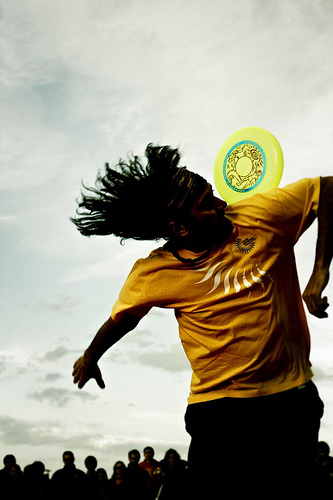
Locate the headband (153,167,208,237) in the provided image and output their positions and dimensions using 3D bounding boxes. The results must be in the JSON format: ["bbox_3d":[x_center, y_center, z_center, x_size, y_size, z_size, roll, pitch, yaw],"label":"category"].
[{"bbox_3d":[0.091,-0.272,4.817,0.184,0.354,0.292,33,2,-16],"label":"headband"}]

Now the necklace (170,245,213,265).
[{"bbox_3d":[0.133,0.021,4.789,0.270,0.129,0.033,-8,-21,24],"label":"necklace"}]

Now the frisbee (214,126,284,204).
[{"bbox_3d":[0.491,-0.524,5.168,0.146,0.423,0.464,15,-23,-38],"label":"frisbee"}]
